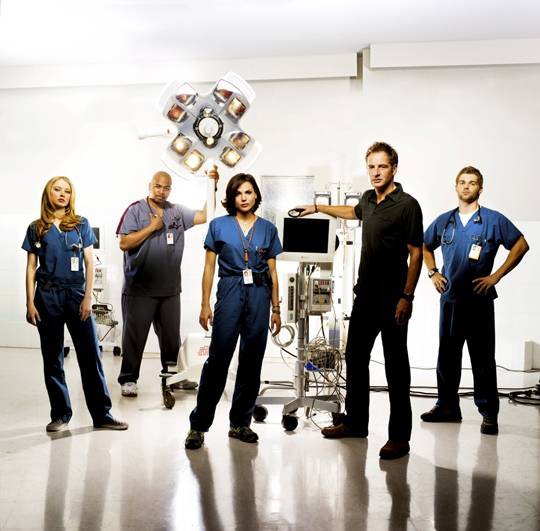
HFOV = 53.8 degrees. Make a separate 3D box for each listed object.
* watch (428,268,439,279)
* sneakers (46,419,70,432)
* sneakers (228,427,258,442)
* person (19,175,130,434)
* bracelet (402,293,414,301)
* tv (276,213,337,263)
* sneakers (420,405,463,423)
[{"bbox_3d":[1.159,0.058,3.807,0.062,0.073,0.063,3,-33,-35],"label":"watch"},{"bbox_3d":[-1.320,1.001,3.325,0.052,0.067,0.157,-1,-15,11],"label":"sneakers"},{"bbox_3d":[-0.162,0.990,3.171,0.150,0.071,0.074,-5,-8,41],"label":"sneakers"},{"bbox_3d":[-1.212,0.240,3.282,0.575,1.594,0.317,1,-1,-24],"label":"person"},{"bbox_3d":[0.772,0.180,2.979,0.036,0.028,0.050,13,-11,33],"label":"bracelet"},{"bbox_3d":[0.233,-0.186,3.559,0.456,0.482,0.263,1,-2,-2],"label":"tv"},{"bbox_3d":[1.213,1.054,3.805,0.292,0.152,0.117,2,-4,-2],"label":"sneakers"}]
